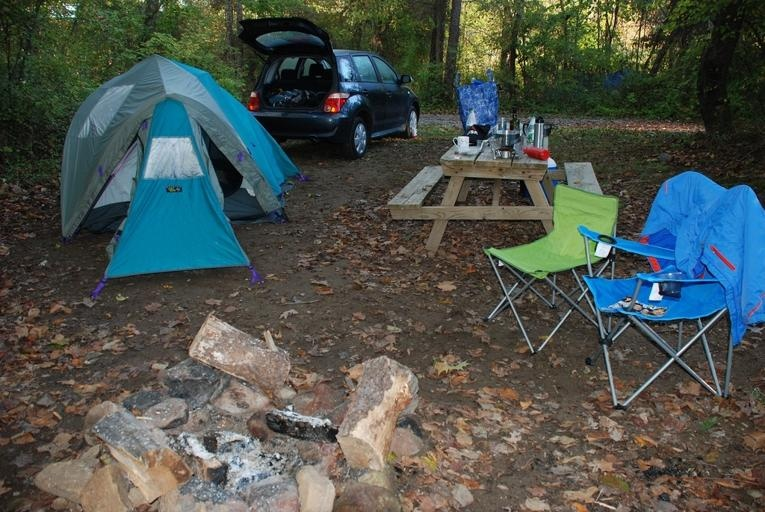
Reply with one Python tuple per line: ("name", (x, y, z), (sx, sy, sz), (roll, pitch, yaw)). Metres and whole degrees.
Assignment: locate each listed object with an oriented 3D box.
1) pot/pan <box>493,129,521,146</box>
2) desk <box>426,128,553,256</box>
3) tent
("pot/pan", (1.556, -1.504, 6.608), (0.347, 0.129, 0.278), (10, 18, 38))
("desk", (1.542, -0.938, 7.186), (1.691, 1.045, 1.536), (5, 29, 10))
("tent", (-3.176, -1.450, 7.761), (3.385, 1.775, 3.945), (-4, 27, -17))
